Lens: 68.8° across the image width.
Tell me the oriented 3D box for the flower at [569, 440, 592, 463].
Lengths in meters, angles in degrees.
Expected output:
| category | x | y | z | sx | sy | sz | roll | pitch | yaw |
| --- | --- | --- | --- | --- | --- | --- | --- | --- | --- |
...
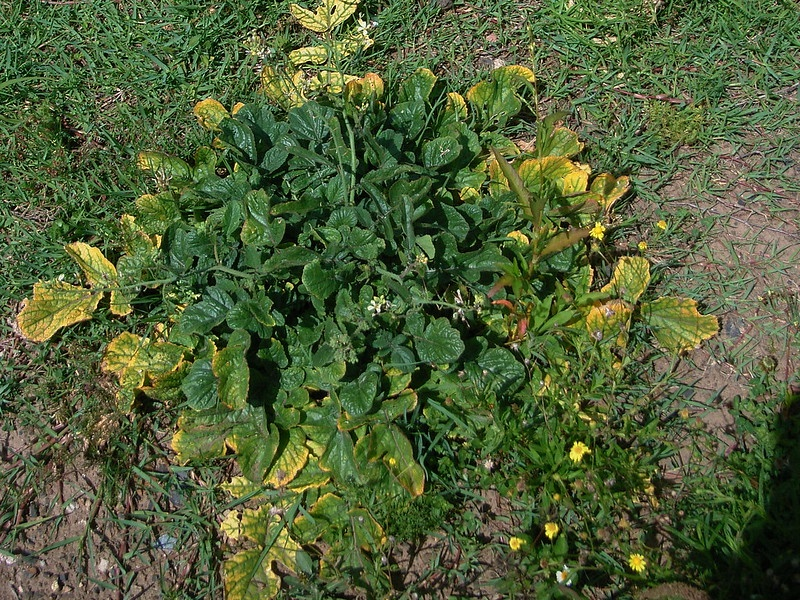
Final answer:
| category | x | y | z | sx | sy | sz | roll | pitch | yaw |
| --- | --- | --- | --- | --- | --- | --- | --- | --- | --- |
| flower | 0.714 | 0.615 | 2.383 | 0.093 | 0.028 | 0.097 | -12 | 91 | 1 |
